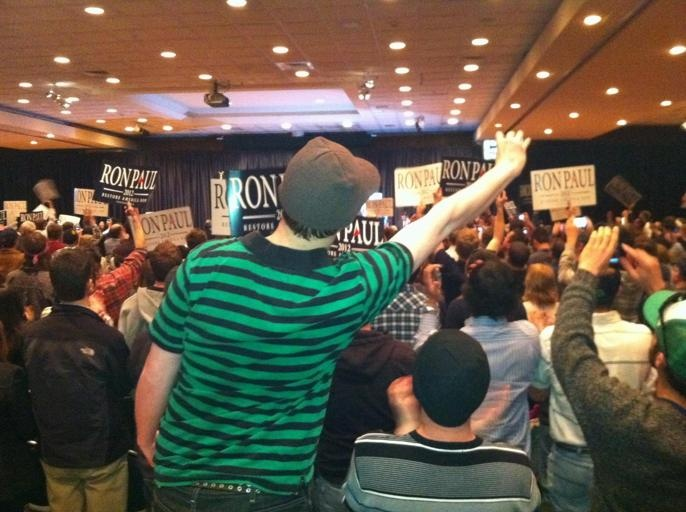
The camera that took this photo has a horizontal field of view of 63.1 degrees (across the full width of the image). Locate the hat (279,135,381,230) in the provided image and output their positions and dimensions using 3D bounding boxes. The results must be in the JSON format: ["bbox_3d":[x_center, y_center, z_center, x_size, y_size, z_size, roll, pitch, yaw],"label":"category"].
[{"bbox_3d":[-0.037,-0.245,1.942,0.341,0.356,0.223,-2,4,-43],"label":"hat"}]

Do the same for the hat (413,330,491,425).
[{"bbox_3d":[0.403,0.454,2.090,0.253,0.252,0.322,-1,47,8],"label":"hat"}]

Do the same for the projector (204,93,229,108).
[{"bbox_3d":[-2.131,-2.629,9.340,0.336,0.254,0.366,1,3,7],"label":"projector"}]
